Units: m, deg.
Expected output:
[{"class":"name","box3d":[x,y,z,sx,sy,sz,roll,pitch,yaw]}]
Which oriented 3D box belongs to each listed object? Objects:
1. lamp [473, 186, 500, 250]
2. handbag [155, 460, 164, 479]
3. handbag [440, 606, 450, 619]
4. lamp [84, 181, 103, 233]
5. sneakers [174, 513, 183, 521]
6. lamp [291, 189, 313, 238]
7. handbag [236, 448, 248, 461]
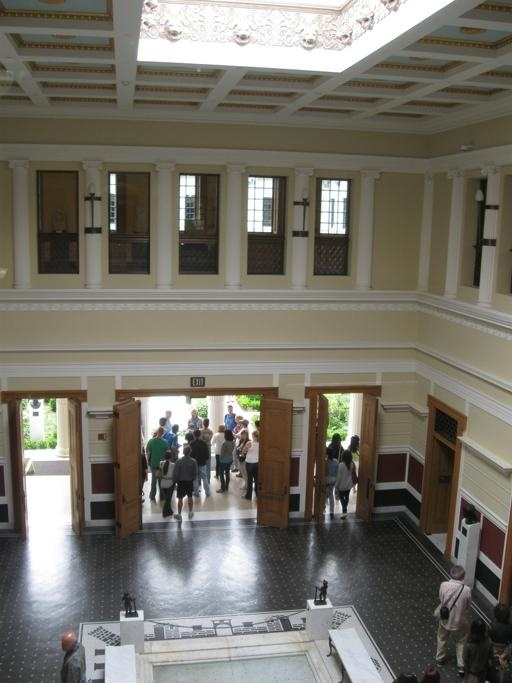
[{"class":"lamp","box3d":[3.818,-2.148,8.597,0.305,1.299,1.424,2,4,21]},{"class":"handbag","box3d":[-2.137,2.793,11.262,0.197,0.394,0.264,5,38,-19]},{"class":"handbag","box3d":[2.281,3.305,6.237,0.105,0.201,0.088,4,5,32]},{"class":"lamp","box3d":[-3.078,-2.445,9.614,0.299,0.899,0.130,0,4,-18]},{"class":"sneakers","box3d":[-1.663,3.678,10.818,0.158,0.105,0.266,0,4,-11]},{"class":"lamp","box3d":[0.875,-2.454,10.162,0.341,0.803,0.127,1,4,-1]},{"class":"handbag","box3d":[-0.344,2.586,11.890,0.294,0.401,0.299,1,40,0]}]
